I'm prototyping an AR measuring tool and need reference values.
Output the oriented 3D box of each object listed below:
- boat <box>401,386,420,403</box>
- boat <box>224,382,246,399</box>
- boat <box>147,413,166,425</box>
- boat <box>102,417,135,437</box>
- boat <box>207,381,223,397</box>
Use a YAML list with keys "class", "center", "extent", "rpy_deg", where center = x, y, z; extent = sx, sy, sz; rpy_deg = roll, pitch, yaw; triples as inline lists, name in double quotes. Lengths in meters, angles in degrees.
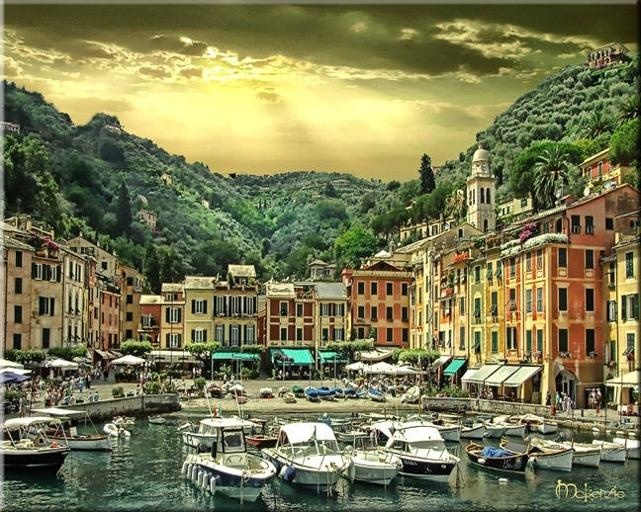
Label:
- class: "boat"
  center: [9.215, 13.974, 98.743]
  extent: [1.905, 1.718, 3.910]
  rpy_deg: [-1, -10, 1]
- class: "boat"
  center: [-8.903, 13.993, 102.035]
  extent: [1.731, 0.884, 2.591]
  rpy_deg: [1, -4, 2]
- class: "boat"
  center: [-15.387, 15.418, 91.980]
  extent: [1.878, 0.860, 1.734]
  rpy_deg: [-2, -10, 5]
- class: "boat"
  center: [-17.571, 15.093, 85.791]
  extent: [1.328, 1.028, 2.451]
  rpy_deg: [7, 1, -3]
- class: "boat"
  center: [-11.031, 14.041, 102.906]
  extent: [1.881, 1.711, 1.150]
  rpy_deg: [-9, -13, 42]
